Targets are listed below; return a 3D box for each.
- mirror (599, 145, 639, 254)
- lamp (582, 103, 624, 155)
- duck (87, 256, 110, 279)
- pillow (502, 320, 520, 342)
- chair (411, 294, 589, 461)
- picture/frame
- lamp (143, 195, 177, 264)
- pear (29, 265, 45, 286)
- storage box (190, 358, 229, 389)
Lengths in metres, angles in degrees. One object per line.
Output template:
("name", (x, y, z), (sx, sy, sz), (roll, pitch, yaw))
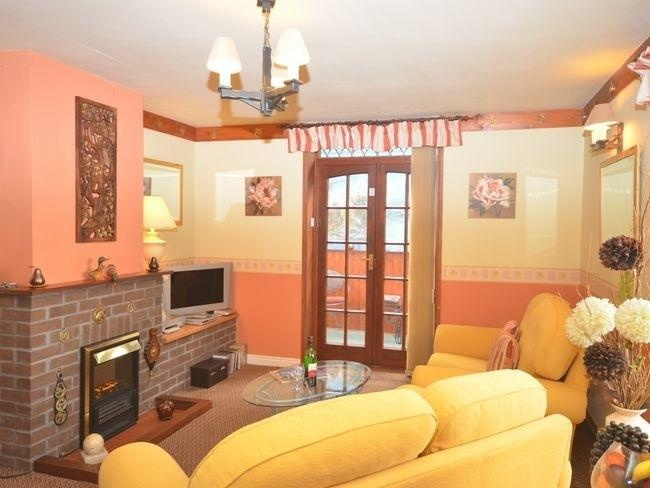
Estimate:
("mirror", (2.240, -0.348, 3.601), (0.049, 1.042, 0.910), (1, 0, 17))
("lamp", (2.396, -0.996, 4.082), (0.273, 0.447, 0.458), (1, 2, 29))
("duck", (-1.816, 0.190, 3.785), (0.151, 0.175, 0.228), (-2, 2, -25))
("pillow", (1.447, 0.689, 3.718), (0.143, 0.083, 0.183), (-3, -1, 30))
("chair", (1.154, 0.829, 3.744), (1.230, 1.270, 1.352), (2, 2, 9))
("picture/frame", (-1.841, -0.574, 3.811), (0.054, 1.127, 0.413), (0, 2, 18))
("lamp", (-1.662, -0.150, 4.725), (0.291, 0.650, 0.881), (-2, 2, -20))
("pear", (-2.023, 0.230, 3.325), (0.092, 0.139, 0.138), (-2, 3, -32))
("storage box", (-1.267, 1.409, 5.173), (0.248, 0.232, 0.391), (0, 2, 19))
